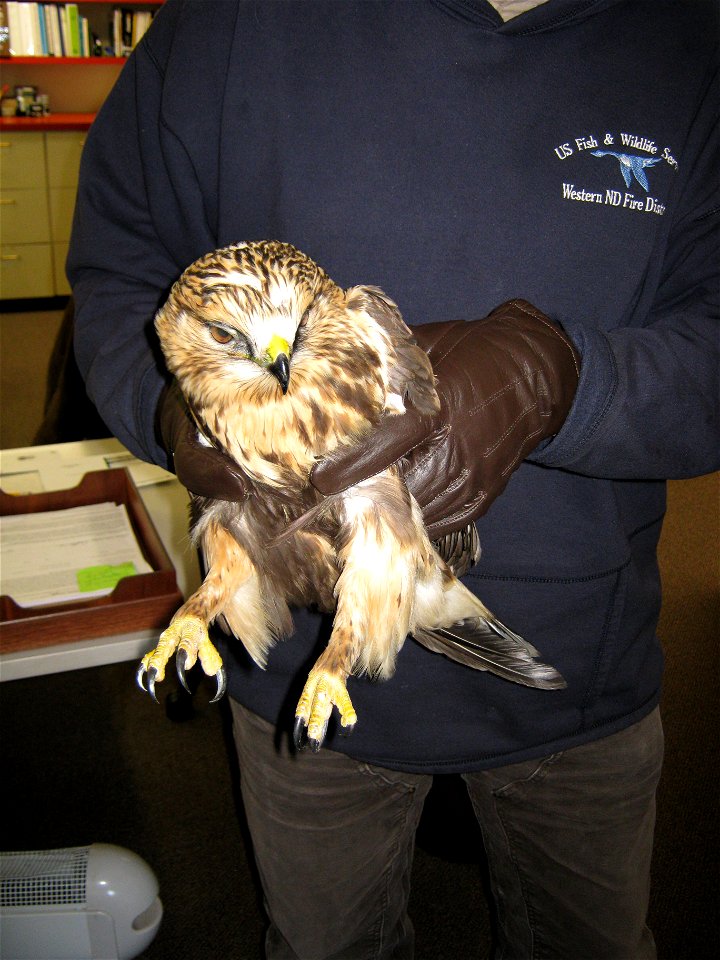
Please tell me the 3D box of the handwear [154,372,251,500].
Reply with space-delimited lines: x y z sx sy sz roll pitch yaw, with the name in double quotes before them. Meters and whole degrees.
"handwear" -0.131 -0.022 0.667 0.087 0.040 0.108 14 43 -31
